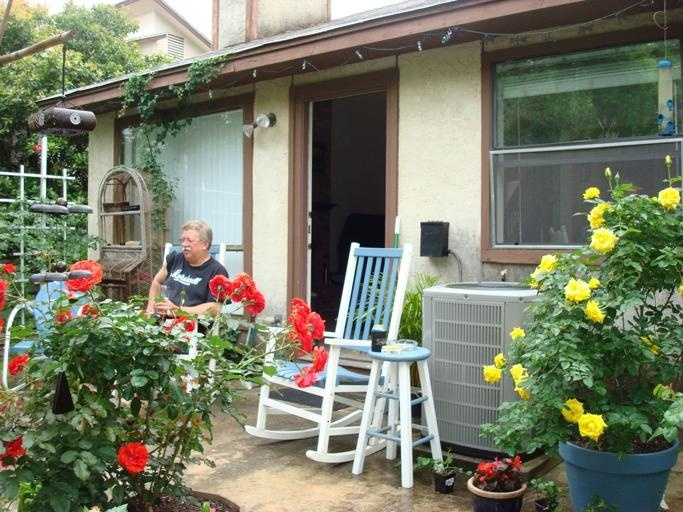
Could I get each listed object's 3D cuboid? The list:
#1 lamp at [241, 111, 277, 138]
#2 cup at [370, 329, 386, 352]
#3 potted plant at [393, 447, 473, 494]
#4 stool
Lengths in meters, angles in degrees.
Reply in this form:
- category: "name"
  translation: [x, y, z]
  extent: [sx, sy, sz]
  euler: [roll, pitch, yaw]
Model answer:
- category: "lamp"
  translation: [-0.832, -1.294, 6.134]
  extent: [0.430, 0.236, 0.160]
  euler: [4, 5, 41]
- category: "cup"
  translation: [0.220, 0.501, 3.688]
  extent: [0.110, 0.125, 0.109]
  euler: [1, 1, 0]
- category: "potted plant"
  translation: [0.522, 1.207, 3.510]
  extent: [0.262, 0.143, 0.268]
  euler: [-3, -3, 37]
- category: "stool"
  translation: [0.261, 0.941, 3.795]
  extent: [0.527, 0.782, 0.513]
  euler: [10, 0, -5]
